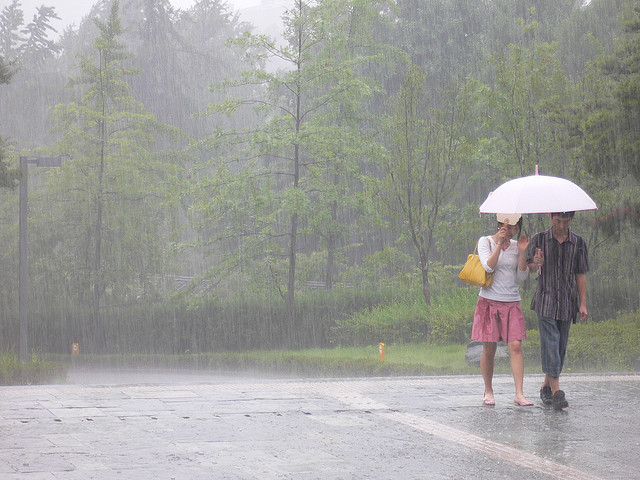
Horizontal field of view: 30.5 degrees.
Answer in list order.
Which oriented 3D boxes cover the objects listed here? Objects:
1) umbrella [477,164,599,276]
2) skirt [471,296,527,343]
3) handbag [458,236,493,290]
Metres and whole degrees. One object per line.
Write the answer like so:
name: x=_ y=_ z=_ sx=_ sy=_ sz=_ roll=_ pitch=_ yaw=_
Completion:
umbrella: x=4.380 y=-0.583 z=24.175 sx=2.213 sy=1.955 sz=2.305 roll=3 pitch=14 yaw=-12
skirt: x=3.554 y=1.633 z=23.775 sx=1.397 sy=1.407 sz=0.791 roll=0 pitch=-3 yaw=3
handbag: x=3.184 y=0.409 z=23.608 sx=0.610 sy=1.108 sz=0.316 roll=11 pitch=-20 yaw=19
